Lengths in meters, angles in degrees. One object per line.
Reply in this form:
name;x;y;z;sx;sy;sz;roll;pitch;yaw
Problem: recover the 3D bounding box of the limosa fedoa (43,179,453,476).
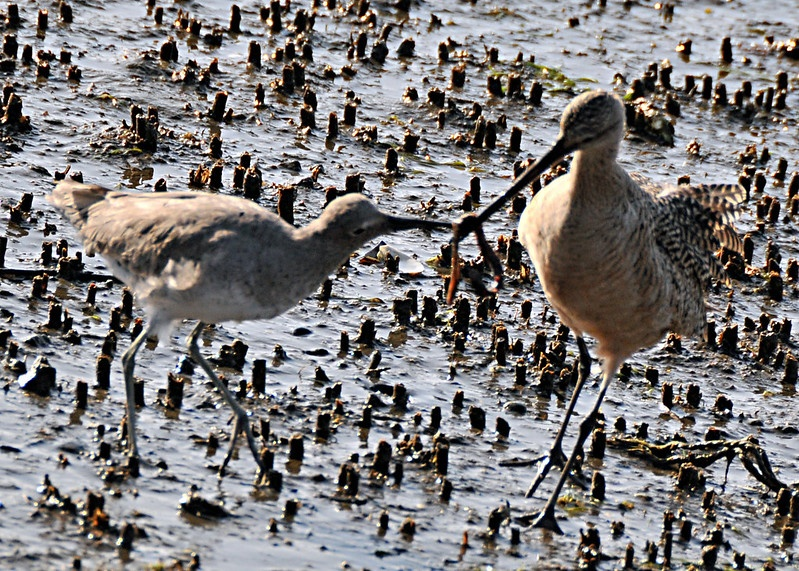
limosa fedoa;-1.216;0.417;8.792;2.508;1.388;0.722;22;16;25
